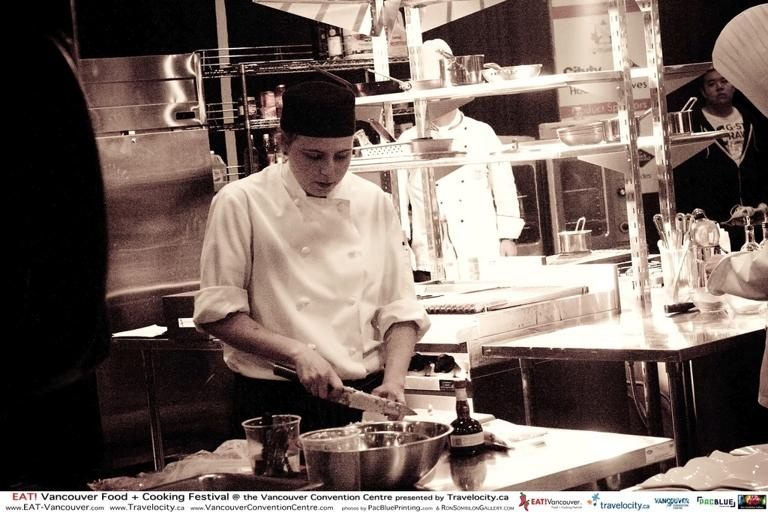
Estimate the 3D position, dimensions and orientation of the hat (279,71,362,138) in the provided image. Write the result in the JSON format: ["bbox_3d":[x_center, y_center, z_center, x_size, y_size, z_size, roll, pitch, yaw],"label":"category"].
[{"bbox_3d":[-0.166,-0.393,1.956,0.179,0.103,0.176,1,4,2],"label":"hat"}]

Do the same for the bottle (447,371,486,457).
[{"bbox_3d":[0.197,0.370,1.783,0.085,0.194,0.186,-3,7,6],"label":"bottle"}]

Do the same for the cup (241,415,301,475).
[{"bbox_3d":[-0.222,0.378,1.498,0.122,0.089,0.127,-1,-5,0],"label":"cup"}]

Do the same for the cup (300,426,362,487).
[{"bbox_3d":[-0.096,0.408,1.491,0.101,0.066,0.095,-3,-3,0],"label":"cup"}]

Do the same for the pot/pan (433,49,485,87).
[{"bbox_3d":[0.322,-0.855,3.387,0.145,0.147,0.233,-1,-2,-29],"label":"pot/pan"}]

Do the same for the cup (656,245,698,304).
[{"bbox_3d":[1.356,0.073,3.424,0.145,0.277,0.145,-4,7,0],"label":"cup"}]

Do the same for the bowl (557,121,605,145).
[{"bbox_3d":[0.887,-0.547,3.309,0.201,0.099,0.142,-2,7,15],"label":"bowl"}]

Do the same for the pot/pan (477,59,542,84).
[{"bbox_3d":[0.576,-0.818,3.288,0.251,0.092,0.229,-4,6,-7],"label":"pot/pan"}]
